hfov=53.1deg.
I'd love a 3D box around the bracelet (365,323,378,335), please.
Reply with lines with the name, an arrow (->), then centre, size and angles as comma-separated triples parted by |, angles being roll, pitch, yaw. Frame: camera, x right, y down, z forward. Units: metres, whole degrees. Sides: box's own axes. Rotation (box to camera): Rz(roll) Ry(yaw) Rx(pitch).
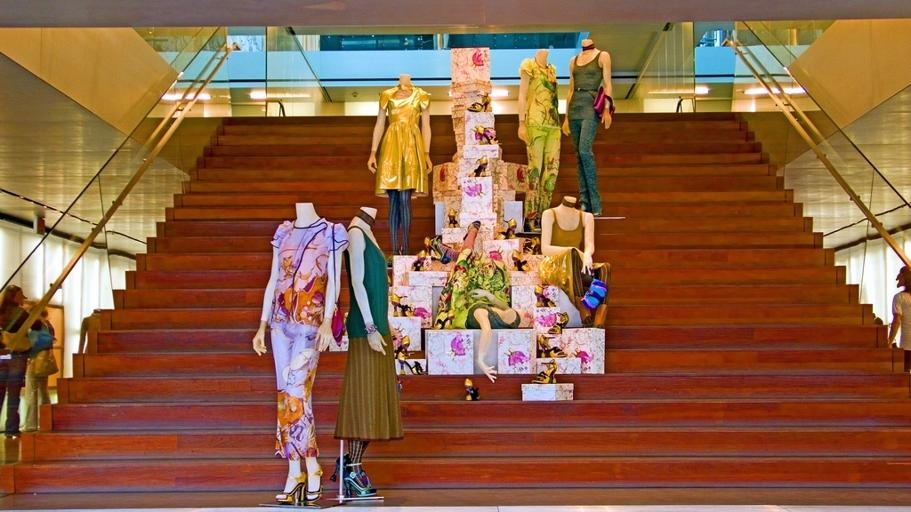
bracelet -> -0.816, 0.717, 8.854 | 0.101, 0.048, 0.094 | -2, 93, -3

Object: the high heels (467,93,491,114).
high heels -> 0.334, -1.981, 11.928 | 0.344, 0.179, 0.133 | -2, 92, -33

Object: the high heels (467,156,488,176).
high heels -> 0.315, -1.107, 11.690 | 0.127, 0.172, 0.358 | 24, 83, 21

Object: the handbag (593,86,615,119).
handbag -> 1.900, -1.975, 11.751 | 0.162, 0.303, 0.347 | -4, 112, -8

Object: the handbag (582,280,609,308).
handbag -> 1.604, 0.463, 10.516 | 0.261, 0.127, 0.331 | 28, 83, 4

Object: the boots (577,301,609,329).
boots -> 1.601, 0.723, 10.588 | 0.332, 0.237, 0.264 | -3, 80, 14
